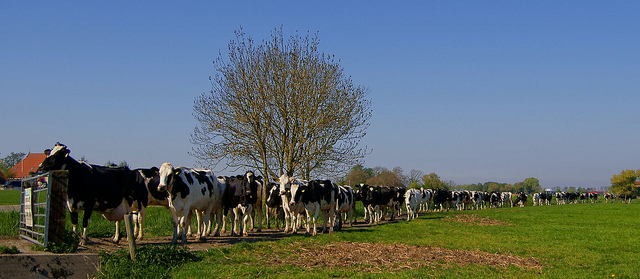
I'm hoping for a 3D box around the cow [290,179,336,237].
[{"bbox_3d":[-0.615,6.536,52.797,2.463,5.317,8.020,-6,-9,26],"label":"cow"}]

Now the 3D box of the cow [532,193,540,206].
[{"bbox_3d":[40.444,10.814,100.578,1.005,2.302,3.848,-8,-13,22],"label":"cow"}]

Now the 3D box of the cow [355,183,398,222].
[{"bbox_3d":[6.569,7.073,61.432,2.405,3.715,8.062,4,0,32],"label":"cow"}]

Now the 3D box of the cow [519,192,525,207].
[{"bbox_3d":[35.826,10.336,95.546,0.962,2.287,3.998,-7,-13,19],"label":"cow"}]

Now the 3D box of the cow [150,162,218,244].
[{"bbox_3d":[-11.949,5.799,48.827,1.981,6.879,5.261,-15,-17,43],"label":"cow"}]

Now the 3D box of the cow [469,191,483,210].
[{"bbox_3d":[24.305,9.072,83.151,1.113,2.660,4.204,-9,-13,24],"label":"cow"}]

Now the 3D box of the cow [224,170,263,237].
[{"bbox_3d":[-7.486,6.197,52.436,2.985,6.130,2.504,-6,-13,13],"label":"cow"}]
